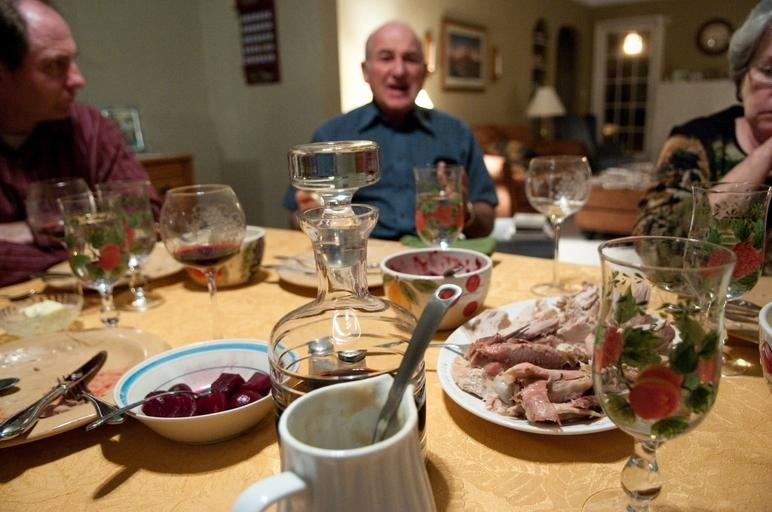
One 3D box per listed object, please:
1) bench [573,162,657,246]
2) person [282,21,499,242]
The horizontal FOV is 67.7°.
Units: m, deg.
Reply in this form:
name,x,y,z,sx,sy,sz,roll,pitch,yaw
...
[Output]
name,x,y,z,sx,sy,sz,roll,pitch,yaw
bench,1.316,-0.318,3.380,0.482,0.522,0.697,1,9,14
person,-0.005,-0.483,2.373,0.971,0.908,0.537,-1,18,-2
